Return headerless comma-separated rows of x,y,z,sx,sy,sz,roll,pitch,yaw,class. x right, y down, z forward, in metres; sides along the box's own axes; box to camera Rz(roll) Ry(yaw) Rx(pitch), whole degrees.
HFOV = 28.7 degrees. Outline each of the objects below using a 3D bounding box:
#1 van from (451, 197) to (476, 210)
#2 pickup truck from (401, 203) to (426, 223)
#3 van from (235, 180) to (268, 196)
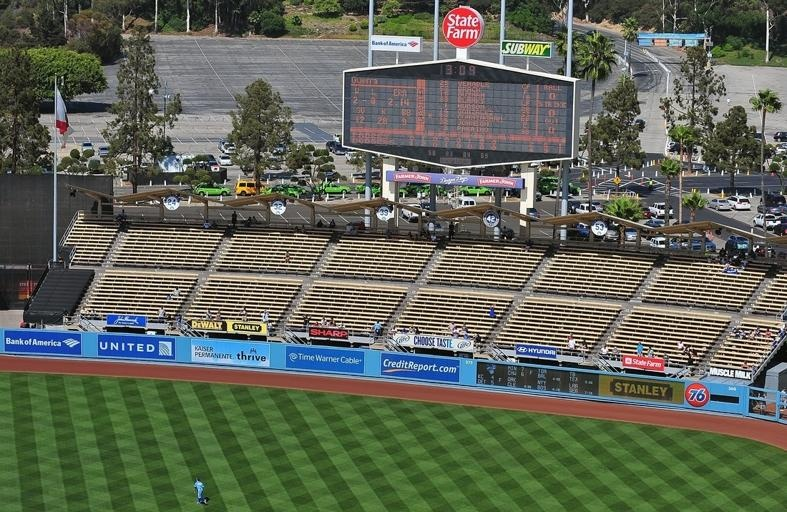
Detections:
8.311,-6.507,183.234,1.984,1.456,2.591,-1,14,-12,van
2.122,-4.483,170.169,1.606,1.000,3.147,-1,11,-10,pickup truck
-17.494,-8.214,189.086,3.662,1.594,2.065,-2,10,-5,van
